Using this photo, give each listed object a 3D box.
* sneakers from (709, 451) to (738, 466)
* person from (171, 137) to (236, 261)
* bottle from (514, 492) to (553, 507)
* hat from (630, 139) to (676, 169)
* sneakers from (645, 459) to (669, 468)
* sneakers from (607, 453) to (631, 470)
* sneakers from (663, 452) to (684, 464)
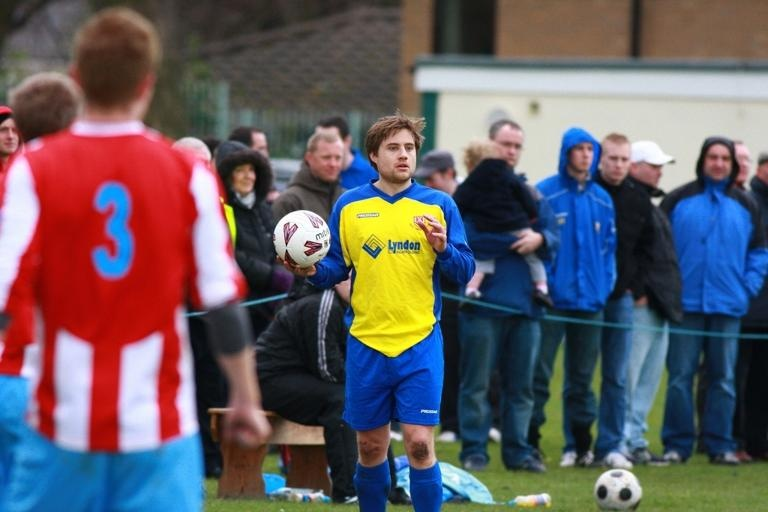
[{"bbox_3d":[2.871,1.695,14.178,0.261,0.118,0.095,1,-9,17],"label":"sneakers"},{"bbox_3d":[-1.481,-0.507,14.586,0.737,1.032,0.415,-3,8,25],"label":"person"},{"bbox_3d":[1.247,2.067,14.273,0.224,0.081,0.134,-5,2,13],"label":"bottle"},{"bbox_3d":[2.349,-0.894,14.819,0.314,0.158,0.220,3,5,23],"label":"hat"},{"bbox_3d":[2.334,1.760,14.359,0.177,0.080,0.066,-2,-6,14],"label":"sneakers"},{"bbox_3d":[2.006,1.745,14.436,0.260,0.138,0.058,-1,-1,42],"label":"sneakers"},{"bbox_3d":[2.449,1.700,14.301,0.163,0.104,0.050,0,-1,8],"label":"sneakers"}]
